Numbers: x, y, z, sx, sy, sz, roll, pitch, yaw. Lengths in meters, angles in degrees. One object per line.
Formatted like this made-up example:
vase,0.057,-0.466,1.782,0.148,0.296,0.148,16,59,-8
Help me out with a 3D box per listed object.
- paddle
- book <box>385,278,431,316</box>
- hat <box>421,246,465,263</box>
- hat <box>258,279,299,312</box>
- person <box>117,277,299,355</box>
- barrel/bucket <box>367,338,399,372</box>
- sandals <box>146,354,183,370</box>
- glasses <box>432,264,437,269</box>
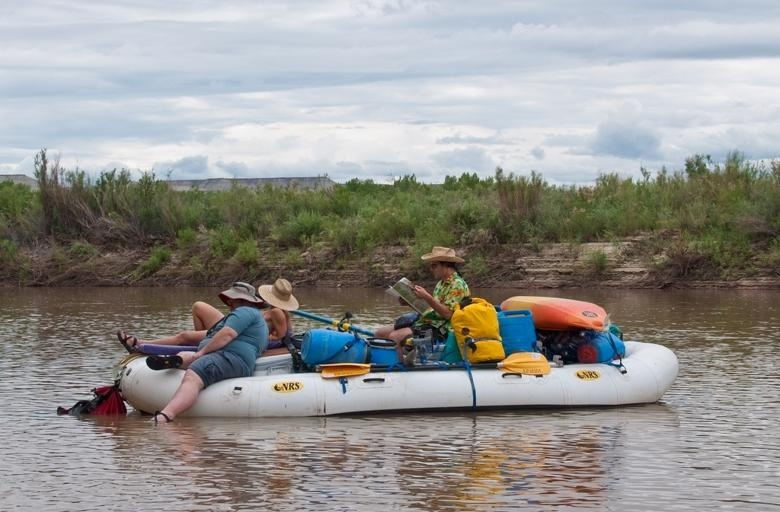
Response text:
paddle,0.967,1.731,18.198,2.181,0.339,1.153,-2,-1,2
book,0.327,0.664,18.906,0.693,0.585,0.643,1,5,29
hat,0.889,0.004,18.860,0.573,0.184,0.488,3,-4,-3
hat,-1.737,0.556,18.850,0.715,0.336,0.753,15,22,-10
person,-2.821,1.143,18.915,2.915,1.408,1.142,1,-13,-22
barrel/bucket,-0.073,1.542,18.473,0.458,0.419,0.440,1,-10,0
sandals,-3.350,1.612,17.919,0.522,0.205,0.257,10,-1,-7
glasses,0.725,0.177,18.943,0.073,0.070,0.025,-8,-6,13
